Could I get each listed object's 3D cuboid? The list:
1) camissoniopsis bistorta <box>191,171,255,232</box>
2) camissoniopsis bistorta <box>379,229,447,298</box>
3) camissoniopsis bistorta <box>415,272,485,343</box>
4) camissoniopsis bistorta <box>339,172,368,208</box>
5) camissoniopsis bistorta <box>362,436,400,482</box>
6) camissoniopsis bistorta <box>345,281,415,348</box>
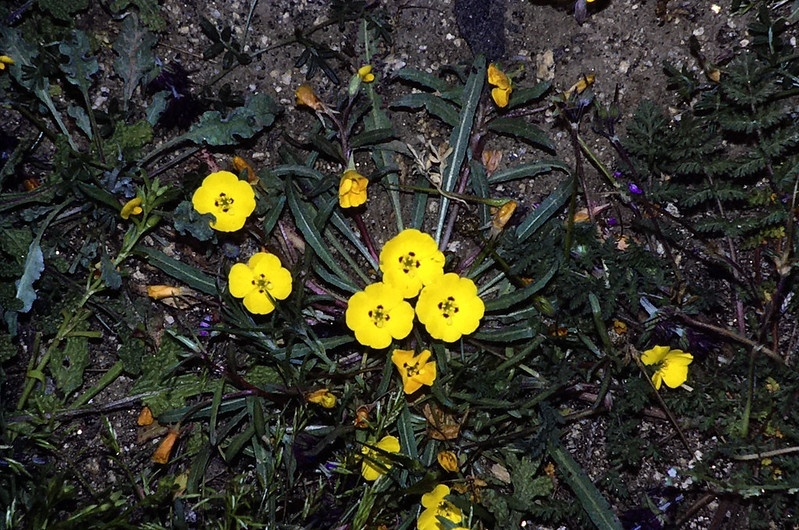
[{"bbox_3d":[-0.917,-0.338,3.194,0.301,0.037,0.296,42,87,3],"label":"camissoniopsis bistorta"},{"bbox_3d":[0.079,-0.031,3.238,0.368,0.395,0.144,13,70,-2],"label":"camissoniopsis bistorta"},{"bbox_3d":[0.246,0.210,3.224,0.337,0.134,0.350,-33,100,2],"label":"camissoniopsis bistorta"},{"bbox_3d":[-0.243,-0.384,3.102,0.165,0.159,0.081,-9,48,-33],"label":"camissoniopsis bistorta"},{"bbox_3d":[-0.125,0.967,3.162,0.218,0.103,0.198,-49,126,-28],"label":"camissoniopsis bistorta"},{"bbox_3d":[-0.105,0.261,3.155,0.316,0.150,0.325,-37,87,-3],"label":"camissoniopsis bistorta"}]
